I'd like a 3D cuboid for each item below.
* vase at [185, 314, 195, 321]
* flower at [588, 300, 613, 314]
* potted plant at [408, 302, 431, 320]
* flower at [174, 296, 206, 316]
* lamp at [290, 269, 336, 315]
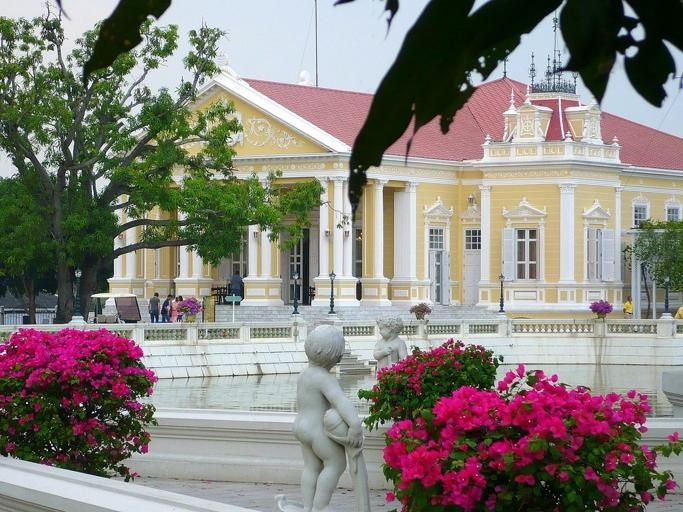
[{"bbox_3d":[-3.530,1.436,35.087,0.159,0.114,0.189,-4,0,8],"label":"vase"},{"bbox_3d":[6.213,1.200,35.610,0.447,0.370,0.454,0,-1,13],"label":"flower"},{"bbox_3d":[1.943,1.311,36.319,0.428,0.389,0.435,-3,-6,39],"label":"potted plant"},{"bbox_3d":[-3.505,1.180,35.323,0.587,0.533,0.602,0,5,-14],"label":"flower"},{"bbox_3d":[-0.671,0.916,39.279,1.136,1.048,0.239,1,1,8],"label":"lamp"}]
